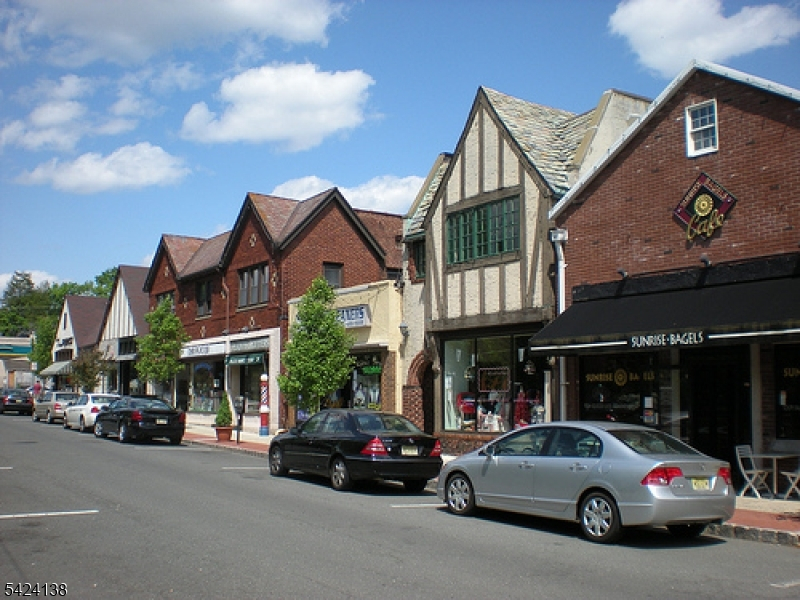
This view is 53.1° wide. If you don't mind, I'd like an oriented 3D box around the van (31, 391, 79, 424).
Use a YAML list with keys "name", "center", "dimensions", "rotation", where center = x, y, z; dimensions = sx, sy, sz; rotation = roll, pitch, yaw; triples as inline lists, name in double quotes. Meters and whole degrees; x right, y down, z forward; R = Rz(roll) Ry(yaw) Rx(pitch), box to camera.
- name: "van"
  center: [-17.401, 5.449, 40.132]
  dimensions: [1.453, 1.243, 3.538]
  rotation: [2, -3, -27]

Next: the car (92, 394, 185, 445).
- name: "car"
  center: [-9.403, 4.232, 28.502]
  dimensions: [1.572, 1.118, 3.230]
  rotation: [7, -8, -29]

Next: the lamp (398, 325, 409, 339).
- name: "lamp"
  center: [0.123, 1.021, 25.662]
  dimensions: [0.213, 0.414, 0.653]
  rotation: [4, -12, -18]

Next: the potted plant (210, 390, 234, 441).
- name: "potted plant"
  center: [-6.443, 4.217, 29.324]
  dimensions: [0.704, 1.744, 0.684]
  rotation: [6, -13, -21]

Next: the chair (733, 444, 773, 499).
- name: "chair"
  center: [7.230, 3.617, 16.493]
  dimensions: [0.696, 1.062, 0.692]
  rotation: [4, 11, -24]

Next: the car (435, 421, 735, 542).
- name: "car"
  center: [3.005, 2.930, 13.807]
  dimensions: [1.988, 1.521, 4.363]
  rotation: [9, -9, -40]

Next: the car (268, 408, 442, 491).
- name: "car"
  center: [-1.261, 3.488, 18.725]
  dimensions: [1.766, 1.811, 4.656]
  rotation: [11, -16, -43]
